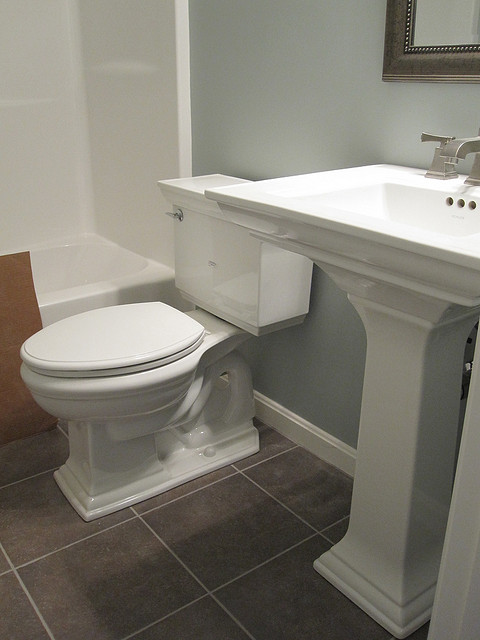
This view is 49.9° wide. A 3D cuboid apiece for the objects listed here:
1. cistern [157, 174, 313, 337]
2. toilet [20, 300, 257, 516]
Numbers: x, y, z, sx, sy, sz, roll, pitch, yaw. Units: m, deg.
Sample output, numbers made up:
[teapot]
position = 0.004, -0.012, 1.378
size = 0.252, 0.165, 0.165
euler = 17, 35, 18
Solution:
[cistern]
position = -0.019, -0.199, 1.518
size = 0.251, 0.365, 0.468
euler = -16, 27, -38
[toilet]
position = -0.254, 0.168, 1.479
size = 0.647, 0.461, 0.395
euler = -15, 30, -34
